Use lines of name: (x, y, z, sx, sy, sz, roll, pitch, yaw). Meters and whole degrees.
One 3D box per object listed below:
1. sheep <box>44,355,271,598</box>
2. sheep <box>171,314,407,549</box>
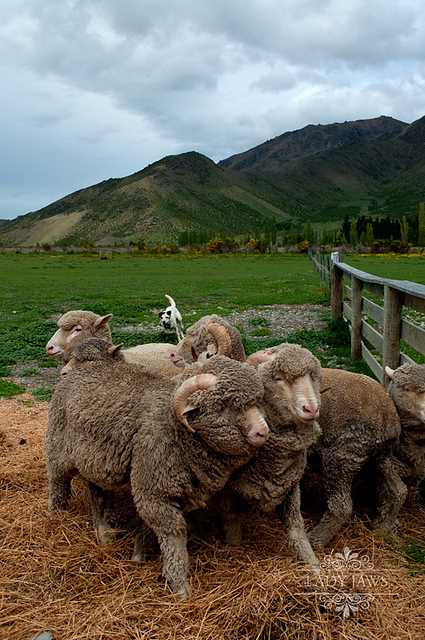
sheep: (-0.427, 0.823, 3.210, 1.736, 1.358, 0.701, 6, 7, 37)
sheep: (0.490, 0.779, 3.847, 1.822, 1.371, 0.721, 3, -3, 39)
